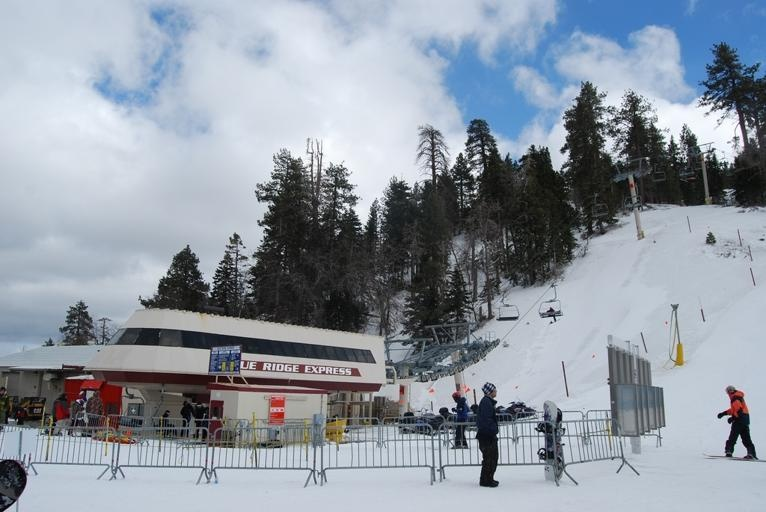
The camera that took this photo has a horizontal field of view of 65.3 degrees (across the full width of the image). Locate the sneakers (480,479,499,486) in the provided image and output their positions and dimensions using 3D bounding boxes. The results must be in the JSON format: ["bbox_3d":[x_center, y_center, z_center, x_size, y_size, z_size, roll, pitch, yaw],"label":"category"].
[{"bbox_3d":[3.373,7.114,18.796,0.591,0.194,0.248,-2,-16,5],"label":"sneakers"}]

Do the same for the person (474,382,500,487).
[{"bbox_3d":[3.320,5.611,18.972,0.672,3.178,1.146,-3,-16,9],"label":"person"}]

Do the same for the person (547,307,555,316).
[{"bbox_3d":[13.794,4.414,48.595,0.651,0.734,1.376,-5,-17,16],"label":"person"}]
